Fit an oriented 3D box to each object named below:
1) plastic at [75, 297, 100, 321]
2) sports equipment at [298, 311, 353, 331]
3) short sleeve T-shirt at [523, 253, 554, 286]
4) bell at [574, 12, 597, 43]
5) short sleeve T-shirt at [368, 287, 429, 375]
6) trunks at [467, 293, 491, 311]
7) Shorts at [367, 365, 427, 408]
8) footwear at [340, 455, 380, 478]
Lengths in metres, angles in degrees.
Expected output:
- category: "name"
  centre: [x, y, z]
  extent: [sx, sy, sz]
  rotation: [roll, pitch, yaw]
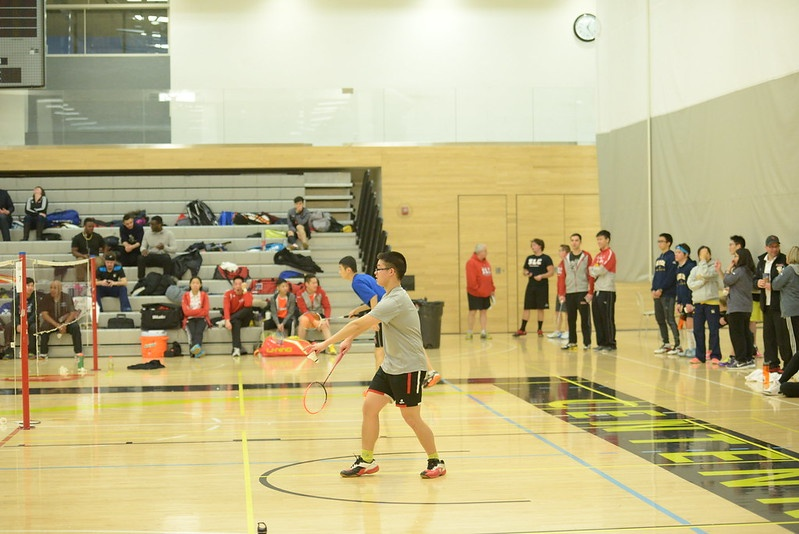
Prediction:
- category: "plastic"
  centre: [-5.828, 0.787, 16.784]
  extent: [0.356, 0.432, 0.133]
  rotation: [-4, 43, -19]
- category: "sports equipment"
  centre: [-1.557, 1.048, 18.208]
  extent: [1.168, 0.224, 0.581]
  rotation: [7, -4, -17]
- category: "short sleeve T-shirt"
  centre: [3.165, 0.040, 20.274]
  extent: [0.561, 0.833, 0.904]
  rotation: [4, -4, -45]
- category: "bell"
  centre: [5.044, -6.460, 24.406]
  extent: [0.642, 0.750, 0.345]
  rotation: [0, 10, 9]
- category: "short sleeve T-shirt"
  centre: [0.014, 0.776, 10.779]
  extent: [0.960, 1.178, 0.936]
  rotation: [1, 1, 1]
- category: "trunks"
  centre: [1.730, 0.761, 20.065]
  extent: [0.586, 0.522, 0.337]
  rotation: [0, 6, -9]
- category: "Shorts"
  centre: [0.018, 1.447, 10.894]
  extent: [0.709, 0.557, 0.442]
  rotation: [-2, -14, 34]
- category: "footwear"
  centre: [-0.464, 2.465, 11.077]
  extent: [0.590, 0.268, 0.189]
  rotation: [0, -4, -8]
